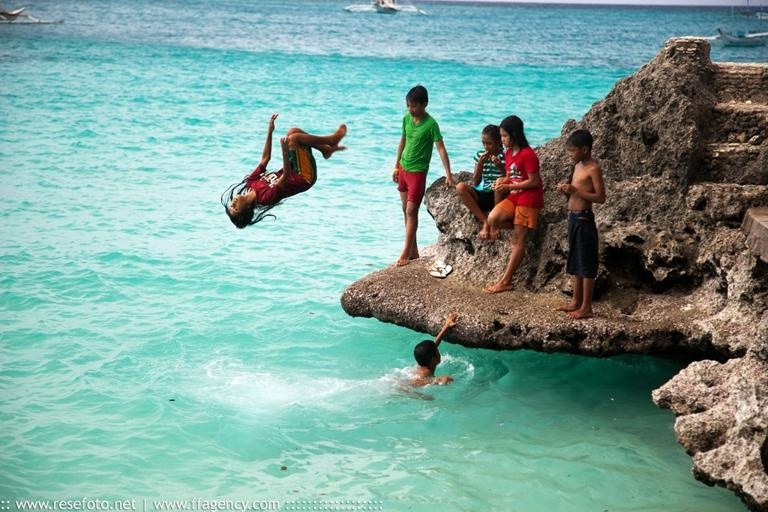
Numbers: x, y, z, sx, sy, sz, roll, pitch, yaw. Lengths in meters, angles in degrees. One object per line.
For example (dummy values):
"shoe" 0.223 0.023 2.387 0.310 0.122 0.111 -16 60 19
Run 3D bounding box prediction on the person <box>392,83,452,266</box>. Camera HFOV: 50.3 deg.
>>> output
"person" 0.651 -1.367 14.351 0.932 3.304 0.919 -2 25 0

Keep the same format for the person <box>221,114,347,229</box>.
"person" -1.583 -1.320 12.726 1.839 1.838 0.673 -4 25 -8

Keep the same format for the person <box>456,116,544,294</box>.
"person" 2.006 -0.864 13.375 0.845 2.926 1.107 -14 28 -24
